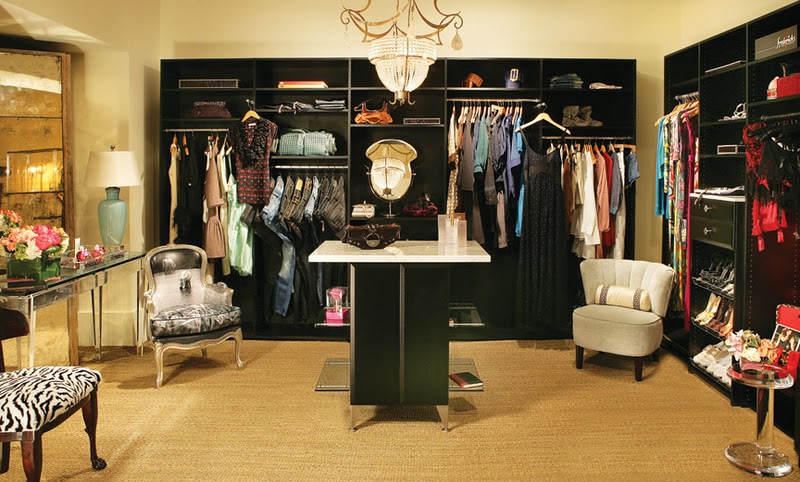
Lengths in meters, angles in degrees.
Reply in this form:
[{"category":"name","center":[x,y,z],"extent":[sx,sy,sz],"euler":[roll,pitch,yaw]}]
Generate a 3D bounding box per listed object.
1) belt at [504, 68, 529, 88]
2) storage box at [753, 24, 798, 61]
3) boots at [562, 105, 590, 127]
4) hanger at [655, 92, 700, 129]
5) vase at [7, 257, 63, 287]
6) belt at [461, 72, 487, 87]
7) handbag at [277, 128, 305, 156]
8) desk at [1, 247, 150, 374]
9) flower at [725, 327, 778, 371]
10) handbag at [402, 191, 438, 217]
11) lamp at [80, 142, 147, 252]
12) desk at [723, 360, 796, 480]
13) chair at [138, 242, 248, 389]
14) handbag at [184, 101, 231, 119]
[{"category":"belt","center":[1.391,-1.989,7.383],"extent":[0.301,0.299,0.271],"euler":[-3,9,-21]},{"category":"storage box","center":[3.489,-1.834,5.541],"extent":[0.273,0.172,0.380],"euler":[-1,0,-30]},{"category":"boots","center":[2.175,-1.540,7.338],"extent":[0.330,0.274,0.286],"euler":[1,7,16]},{"category":"hanger","center":[3.257,-1.546,6.803],"extent":[0.419,0.396,0.165],"euler":[1,-19,38]},{"category":"vase","center":[-3.498,0.292,5.640],"extent":[0.291,0.198,0.376],"euler":[1,0,8]},{"category":"belt","center":[0.903,-1.984,7.402],"extent":[0.240,0.185,0.251],"euler":[6,2,12]},{"category":"handbag","center":[-1.328,-1.194,7.303],"extent":[0.333,0.297,0.308],"euler":[1,-4,-8]},{"category":"desk","center":[-3.423,0.743,6.218],"extent":[0.509,0.792,1.352],"euler":[2,6,5]},{"category":"flower","center":[2.986,0.902,5.081],"extent":[0.345,0.195,0.343],"euler":[-20,8,12]},{"category":"handbag","center":[0.226,-0.456,7.437],"extent":[0.366,0.202,0.471],"euler":[1,3,2]},{"category":"lamp","center":[-3.272,-0.506,6.773],"extent":[0.552,1.156,0.516],"euler":[3,7,30]},{"category":"desk","center":[3.051,1.468,5.063],"extent":[0.509,0.902,0.455],"euler":[1,7,19]},{"category":"chair","center":[-2.307,0.685,6.447],"extent":[1.299,1.676,1.434],"euler":[-2,2,-33]},{"category":"handbag","center":[-2.364,-1.601,7.326],"extent":[0.367,0.097,0.321],"euler":[-3,6,-25]}]
